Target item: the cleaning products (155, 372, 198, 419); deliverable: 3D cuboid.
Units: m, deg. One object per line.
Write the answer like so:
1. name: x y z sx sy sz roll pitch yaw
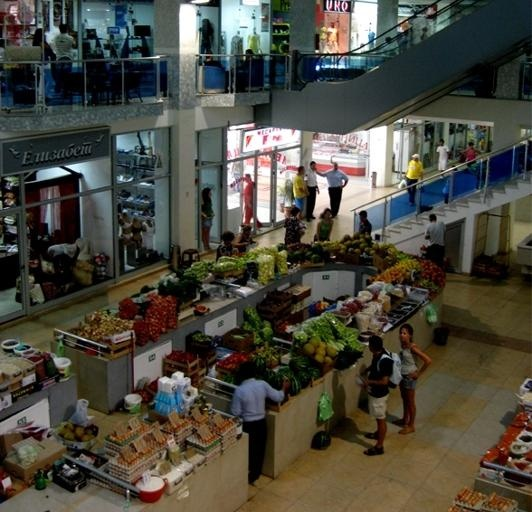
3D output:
1. cleaning products: -1.019 1.500 5.374 0.368 0.304 0.487 4 5 28

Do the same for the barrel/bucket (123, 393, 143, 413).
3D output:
1. barrel/bucket: -1.805 2.002 6.689 0.251 0.160 0.252 1 18 0

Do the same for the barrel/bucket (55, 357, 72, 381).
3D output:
1. barrel/bucket: -2.354 1.299 5.706 0.258 0.148 0.234 1 5 -8

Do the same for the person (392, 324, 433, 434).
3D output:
1. person: 1.885 1.617 6.504 0.421 1.541 0.584 3 15 23

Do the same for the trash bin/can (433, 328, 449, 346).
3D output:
1. trash bin/can: 3.325 1.534 9.453 0.357 0.314 0.344 6 6 28

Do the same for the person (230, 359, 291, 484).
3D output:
1. person: -0.073 1.860 5.436 0.566 1.360 0.515 -3 14 1

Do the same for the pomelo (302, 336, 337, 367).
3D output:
1. pomelo: 0.690 1.211 6.288 0.436 0.149 0.399 18 29 11

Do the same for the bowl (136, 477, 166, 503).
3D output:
1. bowl: -0.901 1.820 3.863 0.184 0.081 0.183 1 23 0
